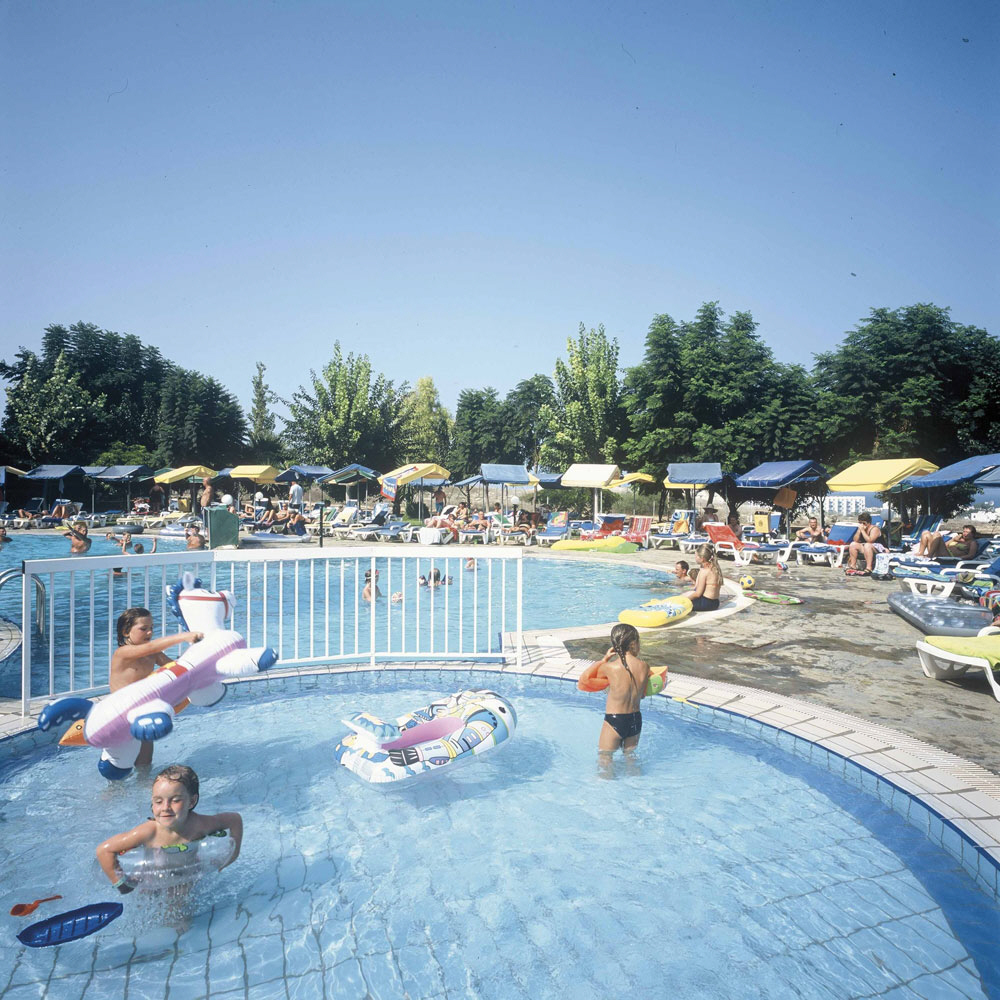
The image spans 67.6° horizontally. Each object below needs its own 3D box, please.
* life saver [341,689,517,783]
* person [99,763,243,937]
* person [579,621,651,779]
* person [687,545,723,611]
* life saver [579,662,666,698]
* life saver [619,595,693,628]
[{"bbox_3d":[-0.504,1.662,5.341,1.063,0.325,0.594,-13,24,-37],"label":"life saver"},{"bbox_3d":[-1.853,1.982,4.183,0.858,1.109,0.533,1,15,-2],"label":"person"},{"bbox_3d":[0.844,1.654,5.735,0.573,1.325,0.375,3,1,-3],"label":"person"},{"bbox_3d":[3.078,1.189,11.509,0.595,0.922,0.751,-1,1,-40],"label":"person"},{"bbox_3d":[0.841,1.399,5.828,0.499,0.191,0.602,1,-6,0],"label":"life saver"},{"bbox_3d":[2.274,1.501,10.320,0.654,0.186,1.105,0,8,32],"label":"life saver"}]
